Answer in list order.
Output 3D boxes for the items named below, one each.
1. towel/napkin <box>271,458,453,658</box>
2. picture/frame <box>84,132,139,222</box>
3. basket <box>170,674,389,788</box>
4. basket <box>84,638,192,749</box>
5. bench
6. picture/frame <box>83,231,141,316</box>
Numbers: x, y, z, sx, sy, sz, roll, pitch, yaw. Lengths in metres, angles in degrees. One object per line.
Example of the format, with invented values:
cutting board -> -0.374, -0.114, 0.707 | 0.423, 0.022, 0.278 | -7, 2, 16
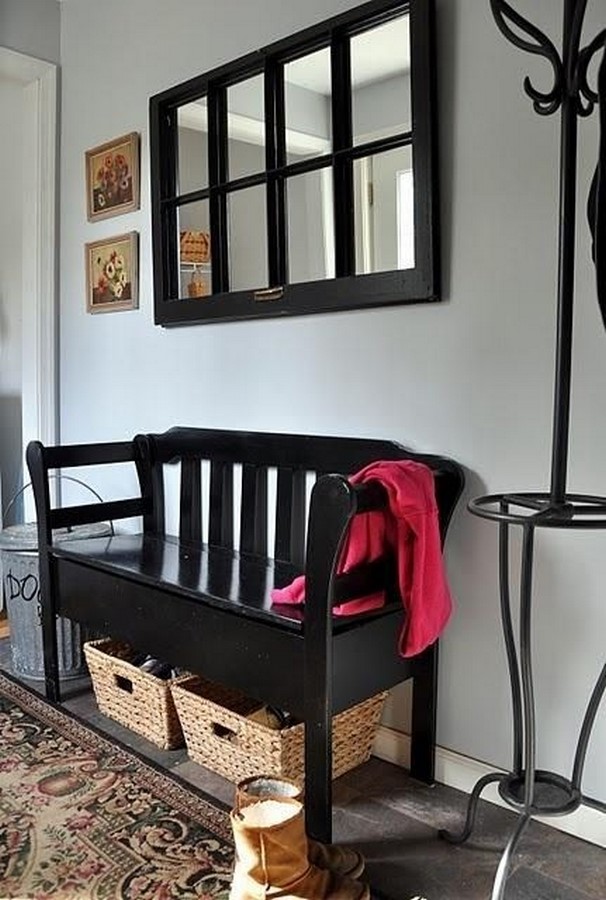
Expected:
towel/napkin -> 0.120, 0.185, 1.483 | 0.365, 0.436, 0.269 | 16, 28, 31
picture/frame -> -0.729, -1.039, 2.720 | 0.035, 0.293, 0.382 | -2, 3, -43
basket -> -0.131, 0.692, 1.787 | 0.289, 0.186, 0.364 | -1, 1, -39
basket -> -0.475, 0.705, 2.043 | 0.202, 0.210, 0.287 | 4, 6, -43
bench -> -0.234, 0.379, 1.928 | 1.172, 0.927, 0.409 | 5, 3, 39
picture/frame -> -0.721, -0.687, 2.731 | 0.025, 0.307, 0.308 | -4, 6, -41
